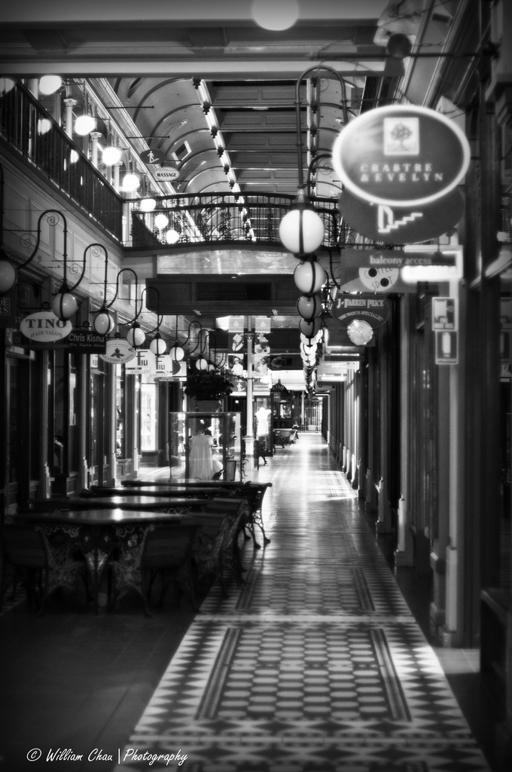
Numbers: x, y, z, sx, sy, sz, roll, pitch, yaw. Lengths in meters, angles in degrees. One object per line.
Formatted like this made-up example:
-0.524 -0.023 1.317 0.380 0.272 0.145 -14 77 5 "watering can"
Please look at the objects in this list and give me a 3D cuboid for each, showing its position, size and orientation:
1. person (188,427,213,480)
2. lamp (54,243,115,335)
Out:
-0.862 1.093 12.030 0.338 0.988 0.176 -1 35 -4 "person"
-1.766 -1.035 7.959 0.670 0.316 1.201 8 -41 -7 "lamp"
